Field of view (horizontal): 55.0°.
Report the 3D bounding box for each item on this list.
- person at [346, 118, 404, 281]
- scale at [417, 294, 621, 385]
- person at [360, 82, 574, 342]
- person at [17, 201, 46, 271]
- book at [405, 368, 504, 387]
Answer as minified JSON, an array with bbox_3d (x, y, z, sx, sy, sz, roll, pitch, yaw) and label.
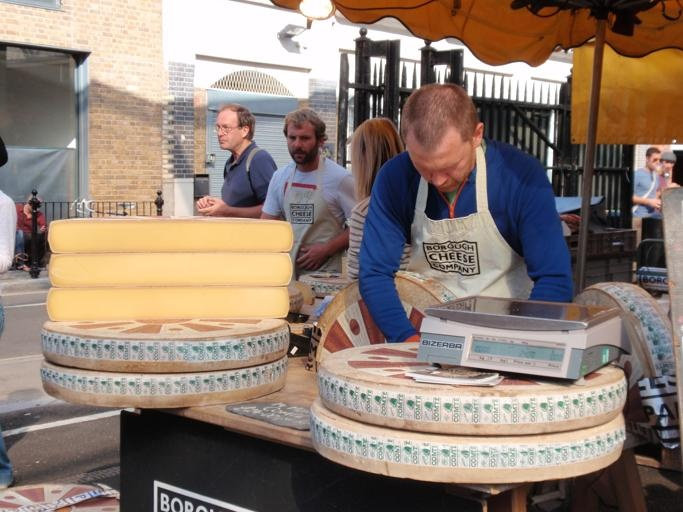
[{"bbox_3d":[0.147,-0.333,4.266,0.357,1.089,0.374,-8,17,-35],"label":"person"},{"bbox_3d":[0.581,0.244,2.054,0.554,0.176,0.492,3,7,29],"label":"scale"},{"bbox_3d":[0.525,-0.196,2.948,0.893,1.076,0.705,-1,6,-11],"label":"person"},{"bbox_3d":[-6.539,-0.436,13.682,0.604,1.512,1.263,-6,8,-43],"label":"person"},{"bbox_3d":[0.321,0.346,1.889,0.282,0.020,0.186,1,6,13],"label":"book"}]
